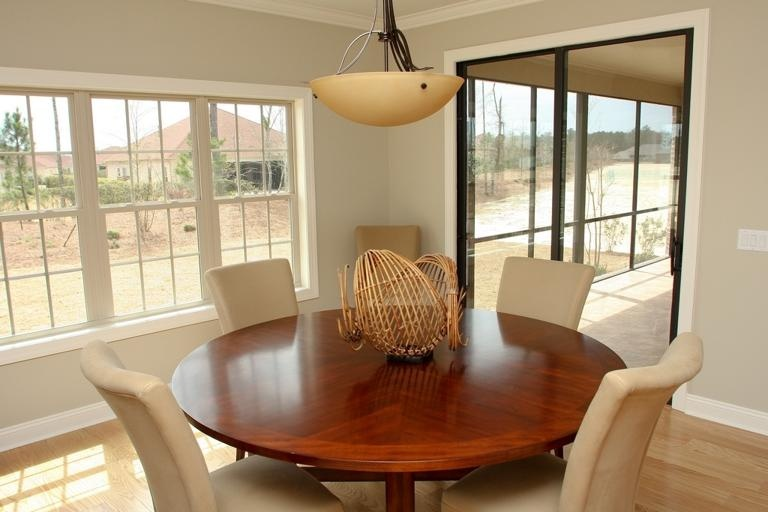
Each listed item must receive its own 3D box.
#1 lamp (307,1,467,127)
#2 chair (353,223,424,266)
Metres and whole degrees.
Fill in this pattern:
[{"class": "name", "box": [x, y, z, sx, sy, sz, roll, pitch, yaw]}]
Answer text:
[{"class": "lamp", "box": [0.085, -1.198, 3.467, 0.756, 0.824, 1.791, 0, 11, 7]}, {"class": "chair", "box": [0.045, -0.115, 5.346, 0.420, 0.495, 0.424, 0, -5, -5]}]
